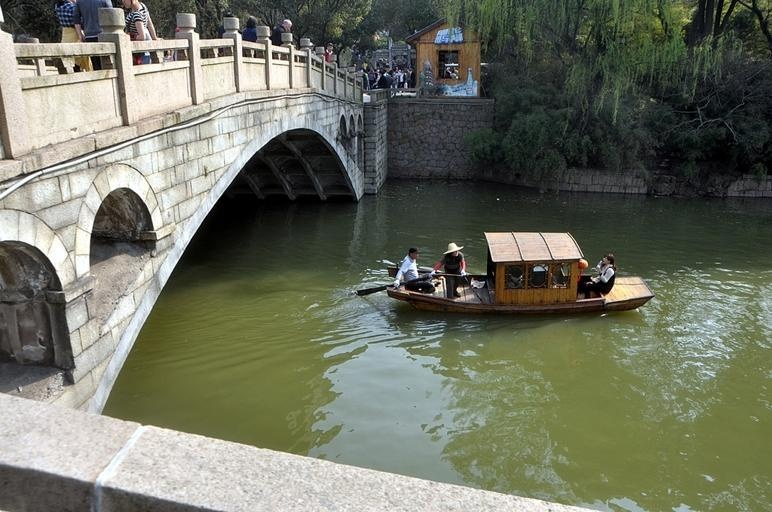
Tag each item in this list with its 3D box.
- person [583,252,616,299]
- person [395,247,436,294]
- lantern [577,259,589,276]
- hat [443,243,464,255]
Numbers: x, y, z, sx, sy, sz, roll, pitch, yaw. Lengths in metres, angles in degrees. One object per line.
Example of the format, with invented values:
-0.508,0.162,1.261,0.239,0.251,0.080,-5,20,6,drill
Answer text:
5.218,0.617,13.783,0.845,1.284,0.577,6,14,7,person
0.797,0.386,13.772,1.327,1.097,0.866,-8,12,-39,person
5.025,0.306,14.303,0.284,0.372,0.267,-6,41,-5,lantern
1.896,-0.193,15.837,0.387,0.154,0.397,-28,1,-37,hat
